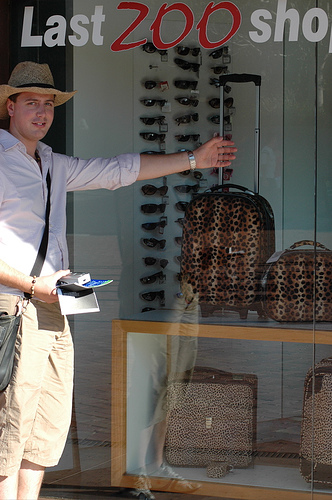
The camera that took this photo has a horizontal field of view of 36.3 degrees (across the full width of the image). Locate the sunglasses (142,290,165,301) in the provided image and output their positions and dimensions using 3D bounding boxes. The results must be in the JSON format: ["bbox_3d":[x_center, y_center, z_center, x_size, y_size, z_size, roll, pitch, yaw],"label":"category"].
[{"bbox_3d":[-0.061,0.216,2.456,0.109,0.037,0.007,2,1,4],"label":"sunglasses"}]

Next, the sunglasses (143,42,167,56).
[{"bbox_3d":[-0.052,-0.959,2.417,0.114,0.043,0.006,2,1,8],"label":"sunglasses"}]

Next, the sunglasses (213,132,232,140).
[{"bbox_3d":[0.263,-0.534,2.375,0.088,0.026,0.010,2,1,1],"label":"sunglasses"}]

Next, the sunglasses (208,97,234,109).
[{"bbox_3d":[0.258,-0.687,2.369,0.114,0.038,0.014,2,1,2],"label":"sunglasses"}]

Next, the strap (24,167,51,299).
[{"bbox_3d":[-0.438,-0.036,1.772,0.063,0.371,0.047,12,-7,-19],"label":"strap"}]

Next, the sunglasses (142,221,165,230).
[{"bbox_3d":[-0.054,-0.120,2.447,0.095,0.029,0.005,2,1,6],"label":"sunglasses"}]

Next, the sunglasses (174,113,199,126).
[{"bbox_3d":[0.098,-0.617,2.387,0.108,0.042,0.007,2,1,5],"label":"sunglasses"}]

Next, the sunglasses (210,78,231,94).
[{"bbox_3d":[0.253,-0.766,2.365,0.097,0.054,0.007,2,1,4],"label":"sunglasses"}]

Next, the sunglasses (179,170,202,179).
[{"bbox_3d":[0.121,-0.361,2.414,0.100,0.029,0.013,2,1,6],"label":"sunglasses"}]

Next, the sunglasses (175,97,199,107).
[{"bbox_3d":[0.098,-0.696,2.385,0.108,0.034,0.009,2,1,14],"label":"sunglasses"}]

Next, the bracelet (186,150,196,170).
[{"bbox_3d":[0.113,-0.416,2.310,0.045,0.067,0.116,2,1,1],"label":"bracelet"}]

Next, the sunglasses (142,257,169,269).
[{"bbox_3d":[-0.048,0.056,2.446,0.121,0.035,0.012,2,1,-4],"label":"sunglasses"}]
